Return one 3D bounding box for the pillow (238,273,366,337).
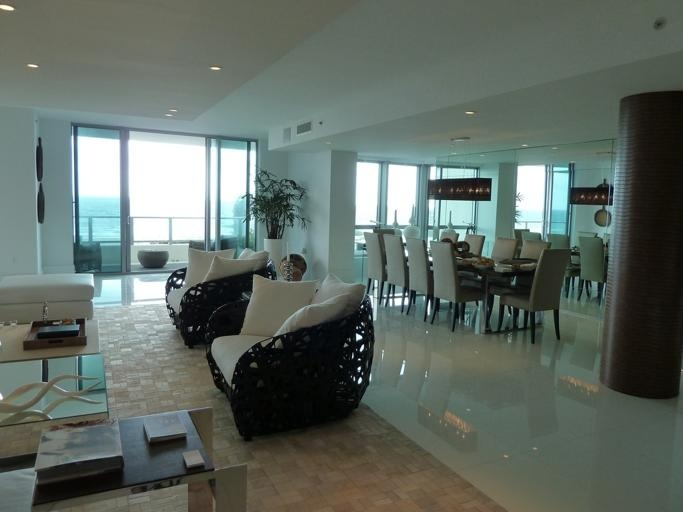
[{"bbox_3d":[-0.384,0.401,4.038,0.648,0.261,0.661,-17,12,2],"label":"pillow"}]

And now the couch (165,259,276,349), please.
[{"bbox_3d":[-1.545,0.556,5.703,1.033,0.731,1.032,8,-8,6],"label":"couch"}]

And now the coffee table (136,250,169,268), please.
[{"bbox_3d":[-4.195,0.069,10.683,0.450,0.289,0.463,0,2,14],"label":"coffee table"}]

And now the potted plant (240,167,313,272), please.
[{"bbox_3d":[-1.435,-0.864,10.485,1.175,2.001,1.438,-2,10,-18],"label":"potted plant"}]
